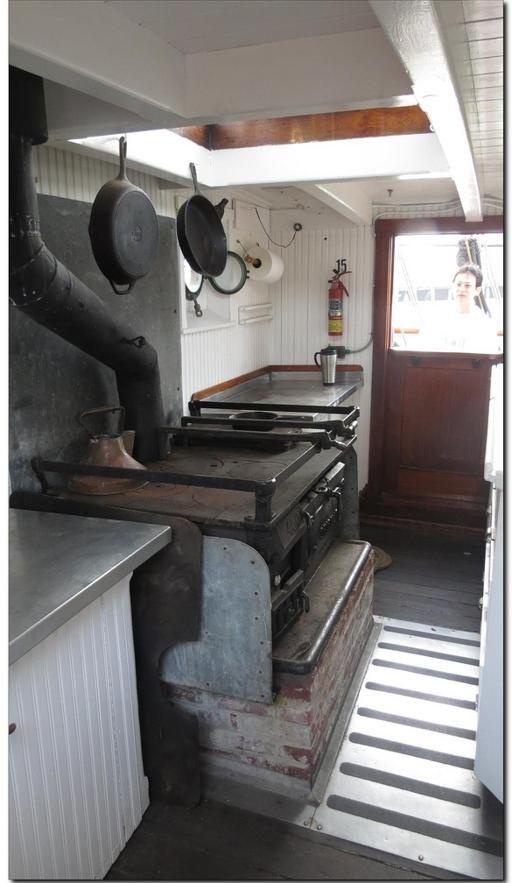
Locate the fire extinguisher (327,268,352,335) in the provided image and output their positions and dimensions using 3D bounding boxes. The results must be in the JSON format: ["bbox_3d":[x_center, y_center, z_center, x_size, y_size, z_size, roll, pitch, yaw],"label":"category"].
[{"bbox_3d":[0.574,-1.005,4.236,0.150,0.526,0.122,2,8,6],"label":"fire extinguisher"}]

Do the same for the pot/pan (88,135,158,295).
[{"bbox_3d":[-0.361,-0.610,1.634,0.116,0.408,0.247,2,8,10],"label":"pot/pan"}]

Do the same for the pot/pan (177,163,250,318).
[{"bbox_3d":[-0.205,-0.636,2.143,0.072,0.605,0.320,2,11,25],"label":"pot/pan"}]
